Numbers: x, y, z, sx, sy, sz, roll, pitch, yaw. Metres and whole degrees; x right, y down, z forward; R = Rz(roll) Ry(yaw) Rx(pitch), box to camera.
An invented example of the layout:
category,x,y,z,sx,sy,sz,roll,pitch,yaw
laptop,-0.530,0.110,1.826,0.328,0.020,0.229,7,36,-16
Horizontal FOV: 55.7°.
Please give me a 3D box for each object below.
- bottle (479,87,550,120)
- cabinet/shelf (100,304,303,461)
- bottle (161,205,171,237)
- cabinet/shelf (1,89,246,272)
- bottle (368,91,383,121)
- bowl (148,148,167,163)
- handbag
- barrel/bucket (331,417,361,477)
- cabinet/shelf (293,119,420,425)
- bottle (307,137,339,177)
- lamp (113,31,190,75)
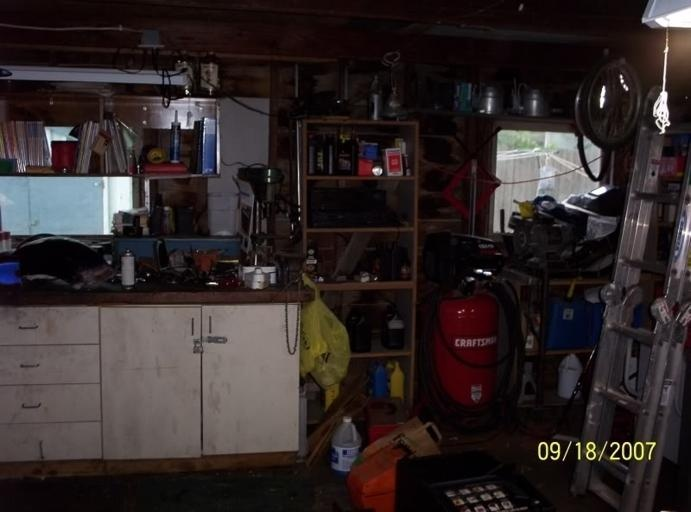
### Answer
category,x,y,z,sx,sy,sz,roll,pitch,yaw
bottle,1.344,-1.258,5.362,0.560,0.246,0.289,-6,8,-34
cabinet/shelf,-1.142,0.869,4.706,1.383,1.016,0.781,4,-11,-27
bottle,-1.391,-0.272,5.095,0.089,0.210,0.032,-3,7,-16
cabinet/shelf,-1.636,-0.606,5.013,1.380,1.192,0.485,0,20,-1
bottle,0.226,-1.135,5.004,0.102,0.228,0.324,-1,7,4
bowl,-1.424,-0.755,4.938,0.117,0.114,0.068,-8,7,-24
handbag,0.291,1.252,4.091,0.554,0.191,0.412,-30,16,-12
barrel/bucket,0.001,1.319,4.523,0.217,0.359,0.219,2,0,0
cabinet/shelf,0.062,0.129,5.033,0.945,2.151,0.493,2,12,3
bottle,-0.176,-0.750,4.881,0.233,0.295,0.071,-2,6,-5
lamp,-1.511,-1.526,4.959,0.390,0.189,0.391,2,2,15
